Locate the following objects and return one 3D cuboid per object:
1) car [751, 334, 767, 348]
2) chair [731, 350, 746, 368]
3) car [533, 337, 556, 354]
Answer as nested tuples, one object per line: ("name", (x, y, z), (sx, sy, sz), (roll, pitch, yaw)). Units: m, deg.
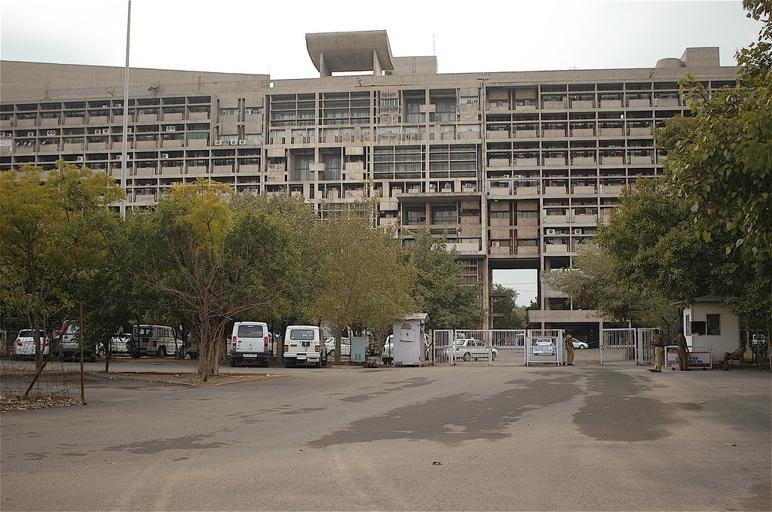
("car", (27.298, 6.229, 73.998), (1.403, 1.220, 2.233), (0, 3, 20))
("chair", (19.910, 5.859, 57.209), (0.904, 0.984, 0.891), (7, -12, -34))
("car", (9.845, 5.541, 62.638), (0.975, 0.820, 1.669), (0, 0, 11))
